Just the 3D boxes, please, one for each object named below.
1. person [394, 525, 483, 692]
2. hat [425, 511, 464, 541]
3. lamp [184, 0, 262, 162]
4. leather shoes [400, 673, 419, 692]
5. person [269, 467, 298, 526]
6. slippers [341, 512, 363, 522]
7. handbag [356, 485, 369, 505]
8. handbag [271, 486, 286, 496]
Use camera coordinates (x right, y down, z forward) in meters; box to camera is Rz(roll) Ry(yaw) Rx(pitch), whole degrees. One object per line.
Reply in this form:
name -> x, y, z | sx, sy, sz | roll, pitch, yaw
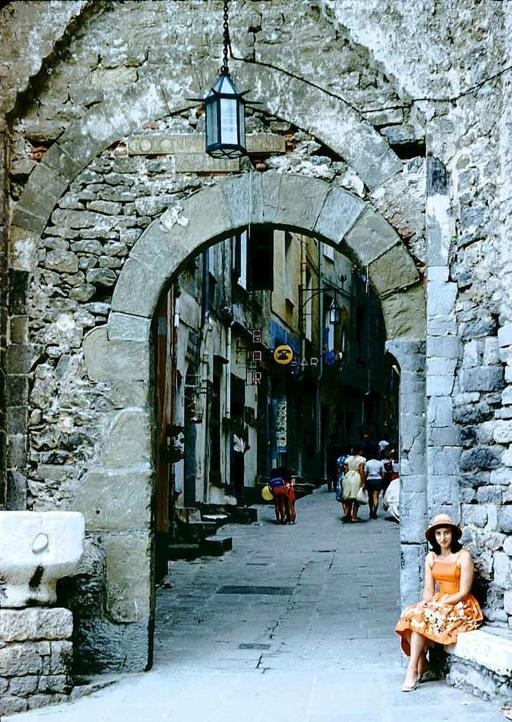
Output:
person -> 1.040, 1.356, 7.050 | 0.495, 0.968, 0.394 | -2, -7, 7
hat -> 1.076, 0.942, 7.198 | 0.138, 0.096, 0.185 | -2, -44, 10
lamp -> -0.222, -1.844, 7.890 | 0.411, 1.105, 0.460 | -3, -7, 14
leather shoes -> 0.858, 1.796, 6.930 | 0.089, 0.078, 0.195 | -3, -9, 12
person -> 0.340, 1.778, 16.558 | 0.333, 0.770, 0.763 | -1, -8, 0
slippers -> 1.276, 2.073, 16.649 | 0.302, 0.146, 0.102 | -1, 0, -15
handbag -> 1.423, 1.777, 16.712 | 0.083, 0.247, 0.229 | -11, -30, 21
handbag -> 0.299, 1.701, 16.388 | 0.186, 0.127, 0.133 | 0, -8, -10
